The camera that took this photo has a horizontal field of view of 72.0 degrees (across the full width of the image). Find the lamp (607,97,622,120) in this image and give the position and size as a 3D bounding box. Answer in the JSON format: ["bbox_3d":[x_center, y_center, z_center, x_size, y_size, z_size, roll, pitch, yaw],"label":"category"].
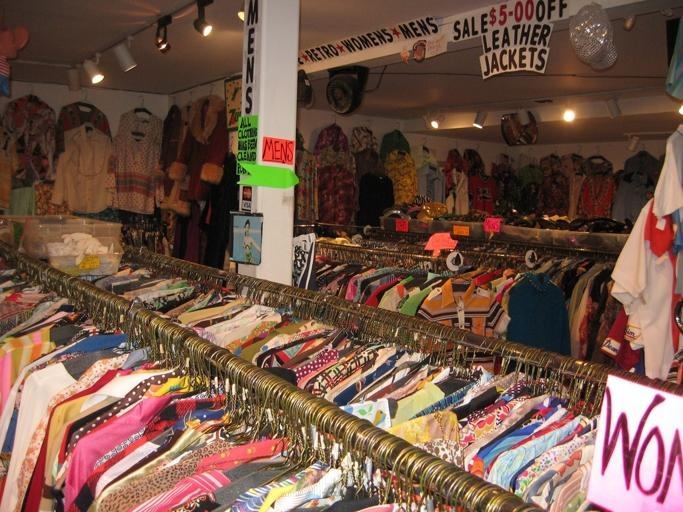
[{"bbox_3d":[3.020,-1.657,5.190,0.128,0.221,0.357,3,7,31],"label":"lamp"}]

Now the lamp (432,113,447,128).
[{"bbox_3d":[1.282,-1.807,6.201,0.227,0.078,0.259,25,42,-20],"label":"lamp"}]

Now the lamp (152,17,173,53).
[{"bbox_3d":[-1.489,-1.852,3.882,0.121,0.254,0.119,2,-3,-20],"label":"lamp"}]

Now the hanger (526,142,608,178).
[{"bbox_3d":[4.005,-1.841,8.446,0.182,0.375,1.624,-5,8,-40],"label":"hanger"}]

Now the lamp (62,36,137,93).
[{"bbox_3d":[-2.503,-1.941,4.832,0.726,0.276,0.138,-19,12,4],"label":"lamp"}]

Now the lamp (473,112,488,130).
[{"bbox_3d":[1.819,-1.790,6.152,0.142,0.246,0.145,16,11,-47],"label":"lamp"}]
